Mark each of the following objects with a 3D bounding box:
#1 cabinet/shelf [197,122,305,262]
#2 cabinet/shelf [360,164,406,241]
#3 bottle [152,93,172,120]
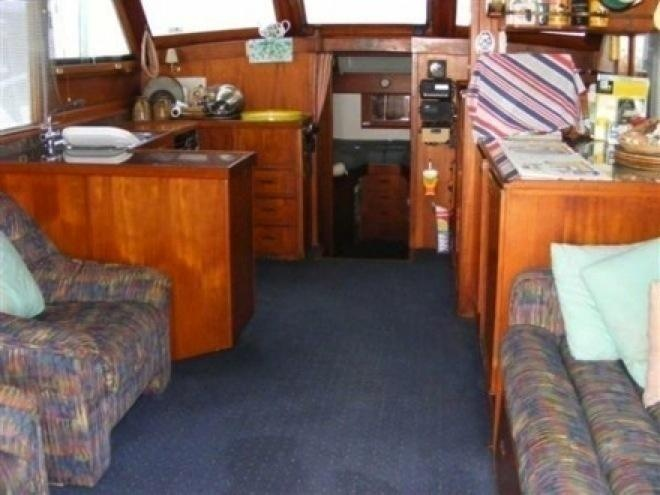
[{"bbox_3d":[-0.431,-0.584,5.294,1.051,1.473,0.999,0,15,3],"label":"cabinet/shelf"},{"bbox_3d":[0.587,-0.486,6.359,0.543,0.772,0.356,-1,19,7],"label":"cabinet/shelf"},{"bbox_3d":[-1.474,-1.227,5.062,0.174,0.192,0.505,-8,20,-13],"label":"bottle"}]
